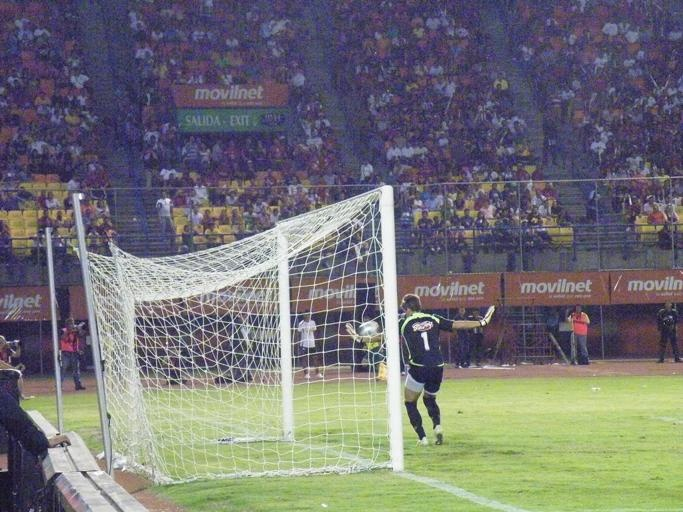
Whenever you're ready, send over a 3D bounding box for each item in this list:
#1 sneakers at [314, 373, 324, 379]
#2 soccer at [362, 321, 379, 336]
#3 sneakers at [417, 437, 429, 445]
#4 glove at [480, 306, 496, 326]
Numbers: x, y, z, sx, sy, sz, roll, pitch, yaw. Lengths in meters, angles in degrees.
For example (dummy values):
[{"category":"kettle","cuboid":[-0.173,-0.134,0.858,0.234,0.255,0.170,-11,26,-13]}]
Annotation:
[{"category":"sneakers","cuboid":[-0.805,4.407,58.876,0.224,0.224,0.456,1,1,-8]},{"category":"soccer","cuboid":[0.889,2.260,50.019,0.402,0.311,0.387,-21,-9,-6]},{"category":"sneakers","cuboid":[2.389,5.445,47.144,0.215,0.231,0.519,1,0,-1]},{"category":"glove","cuboid":[4.977,2.009,54.781,0.294,0.347,0.967,-46,-11,-36]}]
